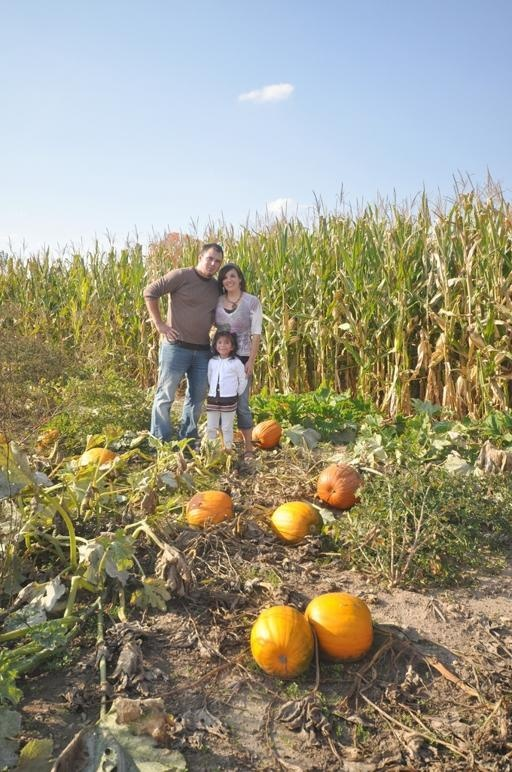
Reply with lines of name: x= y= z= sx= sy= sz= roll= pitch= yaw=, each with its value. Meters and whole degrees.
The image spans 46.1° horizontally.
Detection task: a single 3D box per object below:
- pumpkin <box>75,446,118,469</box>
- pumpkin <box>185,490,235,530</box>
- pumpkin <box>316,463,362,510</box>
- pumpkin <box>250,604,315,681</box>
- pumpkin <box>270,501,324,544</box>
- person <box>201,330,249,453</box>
pumpkin: x=-0.956 y=0.432 z=3.578 sx=0.152 sy=0.111 sz=0.190 roll=-1 pitch=-2 yaw=-1
pumpkin: x=-0.247 y=0.663 z=3.182 sx=0.166 sy=0.184 sz=0.177 roll=-2 pitch=-16 yaw=-38
pumpkin: x=0.479 y=0.563 z=3.534 sx=0.217 sy=0.249 sz=0.250 roll=7 pitch=47 yaw=-2
pumpkin: x=0.098 y=0.920 z=2.261 sx=0.217 sy=0.232 sz=0.255 roll=27 pitch=4 yaw=0
pumpkin: x=0.208 y=0.706 z=3.076 sx=0.231 sy=0.210 sz=0.200 roll=6 pitch=-11 yaw=16
person: x=-0.245 y=0.024 z=4.556 sx=0.300 sy=0.904 sz=0.420 roll=2 pitch=2 yaw=19
